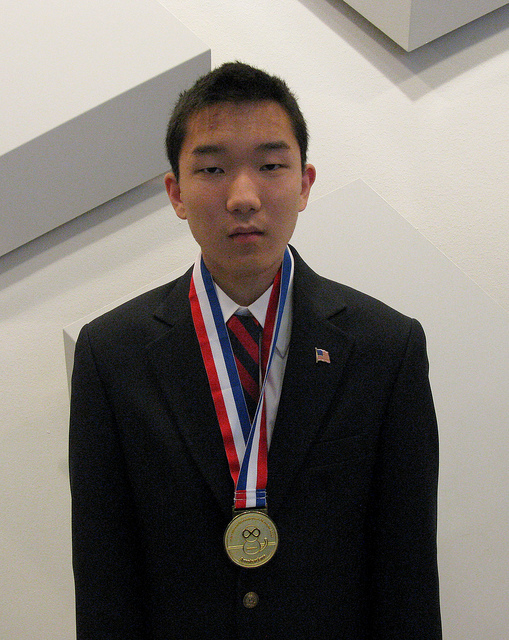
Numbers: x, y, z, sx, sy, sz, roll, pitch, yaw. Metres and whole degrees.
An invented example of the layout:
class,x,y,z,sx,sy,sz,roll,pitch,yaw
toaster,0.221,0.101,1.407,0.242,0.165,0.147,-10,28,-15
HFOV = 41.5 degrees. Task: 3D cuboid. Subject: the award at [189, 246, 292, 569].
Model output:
class,x,y,z,sx,sy,sz,roll,pitch,yaw
award,-0.004,0.093,0.778,0.134,0.417,0.034,1,9,22
